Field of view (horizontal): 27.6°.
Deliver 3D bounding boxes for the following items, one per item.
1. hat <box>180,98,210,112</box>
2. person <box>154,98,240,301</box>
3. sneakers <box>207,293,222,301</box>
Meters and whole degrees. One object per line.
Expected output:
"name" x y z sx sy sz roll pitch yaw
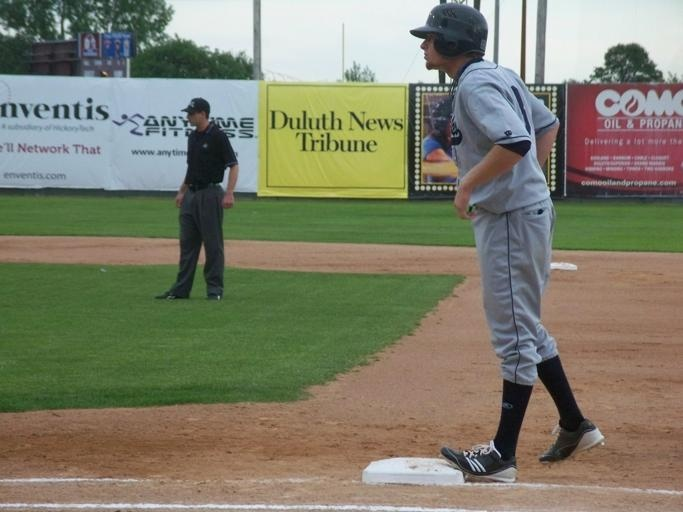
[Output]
"hat" -2.039 -2.119 19.515 0.424 0.227 0.282 2 12 -8
"person" -1.936 -0.805 19.503 0.964 2.791 0.522 -1 8 -5
"sneakers" -1.767 0.572 19.497 0.181 0.071 0.086 -4 0 15
